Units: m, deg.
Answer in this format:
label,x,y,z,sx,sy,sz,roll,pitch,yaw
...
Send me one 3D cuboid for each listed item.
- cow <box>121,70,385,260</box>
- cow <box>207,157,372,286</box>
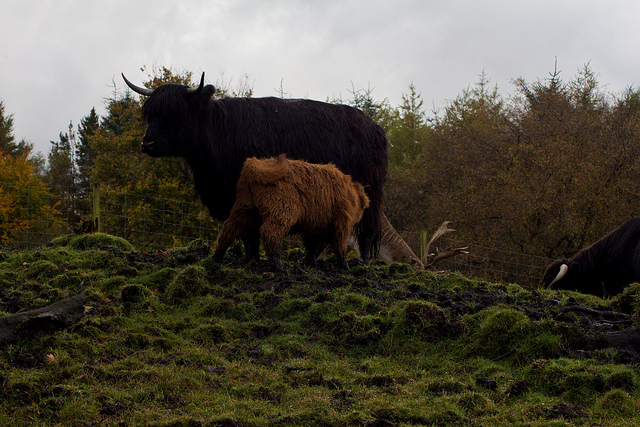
label,x,y,z,sx,sy,sz,roll,pitch,yaw
cow,-0.933,-0.688,18.605,5.645,3.635,2.011,4,3,-24
cow,-0.273,0.112,17.616,3.623,2.368,1.257,9,-1,-40
